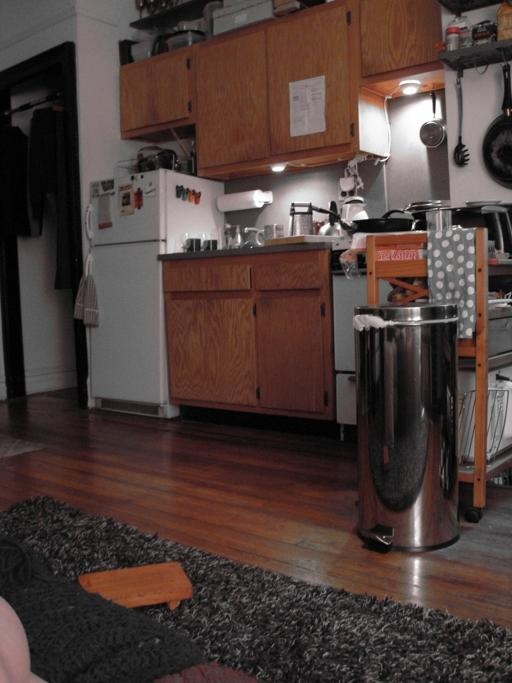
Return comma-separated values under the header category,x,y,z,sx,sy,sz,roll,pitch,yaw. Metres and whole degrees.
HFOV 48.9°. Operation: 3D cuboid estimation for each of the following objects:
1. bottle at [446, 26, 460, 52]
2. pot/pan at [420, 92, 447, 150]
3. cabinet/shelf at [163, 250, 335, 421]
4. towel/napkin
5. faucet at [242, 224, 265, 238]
category,x,y,z,sx,sy,sz,roll,pitch,yaw
bottle,0.828,-1.289,2.384,0.077,0.101,0.038,12,12,33
pot/pan,0.897,-1.114,2.865,0.033,0.265,0.123,-2,3,-38
cabinet/shelf,-0.025,-0.094,3.157,0.888,0.896,0.513,1,10,12
towel/napkin,0.566,-0.203,1.614,0.126,0.310,0.017,9,50,28
faucet,-0.030,-0.696,3.590,0.058,0.084,0.203,-10,15,-36
